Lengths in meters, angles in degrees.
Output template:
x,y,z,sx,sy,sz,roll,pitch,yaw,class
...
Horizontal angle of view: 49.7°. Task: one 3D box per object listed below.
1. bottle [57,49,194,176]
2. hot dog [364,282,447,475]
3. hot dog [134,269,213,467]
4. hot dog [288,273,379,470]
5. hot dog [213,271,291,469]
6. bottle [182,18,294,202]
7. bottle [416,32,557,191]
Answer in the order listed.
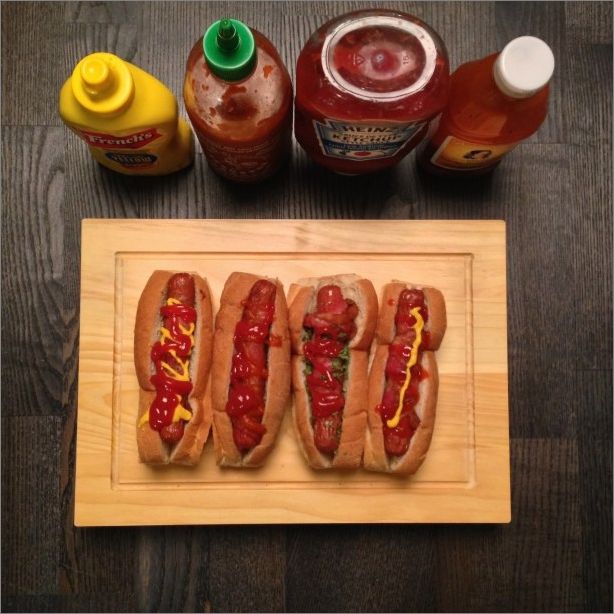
x,y,z,sx,sy,sz,roll,pitch,yaw,class
-0.704,-0.717,2.554,0.430,0.673,0.261,-16,81,-2,bottle
0.372,0.287,2.635,0.287,0.241,0.790,4,83,6,hot dog
-0.530,0.234,2.616,0.338,0.221,0.735,0,87,-5,hot dog
0.091,0.233,2.507,0.370,0.229,0.733,1,88,-4,hot dog
-0.224,0.232,2.572,0.331,0.216,0.709,1,91,-1,hot dog
-0.244,-0.746,2.445,0.369,0.876,0.365,0,81,1,bottle
0.680,-0.752,2.654,0.378,0.801,0.281,-7,80,-9,bottle
